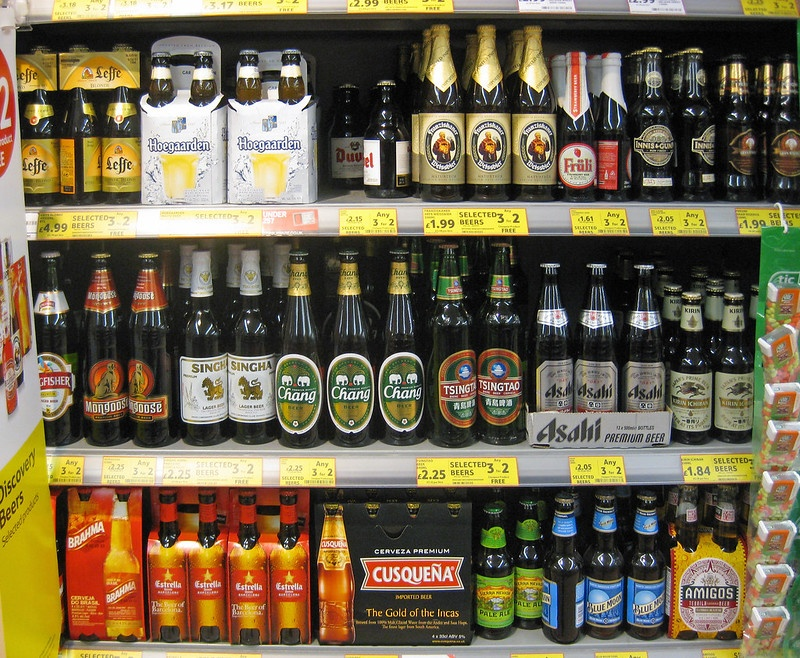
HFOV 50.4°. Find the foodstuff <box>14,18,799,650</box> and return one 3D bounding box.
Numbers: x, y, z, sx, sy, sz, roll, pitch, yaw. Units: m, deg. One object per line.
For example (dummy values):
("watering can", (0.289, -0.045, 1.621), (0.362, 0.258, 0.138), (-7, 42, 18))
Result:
("foodstuff", (0.012, 0.062, 2.485), (1.617, 1.577, 0.576), (-1, 8, 0))

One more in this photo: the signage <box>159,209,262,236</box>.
("signage", (-0.533, -0.301, 2.401), (0.287, 0.090, 0.091), (-5, 8, -9))

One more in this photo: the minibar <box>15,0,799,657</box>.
("minibar", (0.013, 0.049, 2.481), (1.625, 1.618, 0.583), (-1, 8, -1))
